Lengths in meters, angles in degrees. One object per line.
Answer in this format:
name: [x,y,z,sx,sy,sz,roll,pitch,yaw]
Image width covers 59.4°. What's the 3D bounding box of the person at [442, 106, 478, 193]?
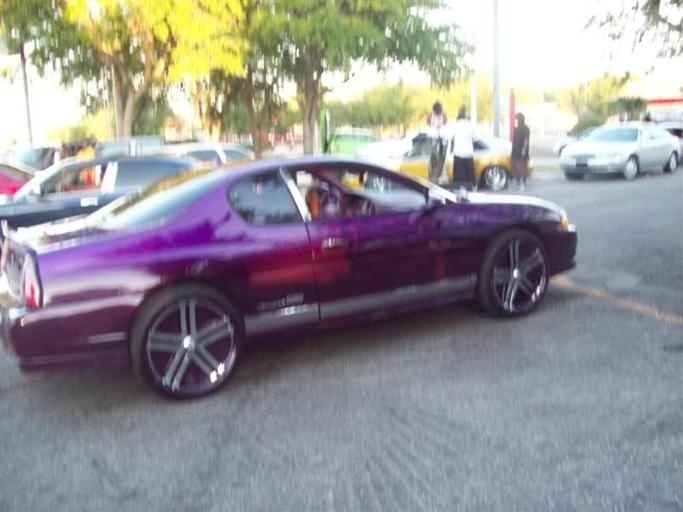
person: [2.830,-2.523,13.876,0.596,2.169,0.746,-10,45,13]
